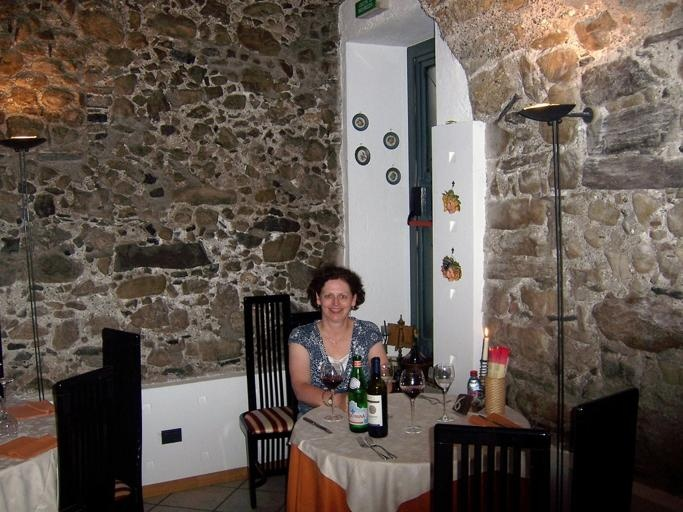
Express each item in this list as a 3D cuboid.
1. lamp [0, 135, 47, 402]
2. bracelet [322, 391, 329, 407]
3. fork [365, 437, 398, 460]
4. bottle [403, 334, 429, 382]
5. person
[{"bbox_3d":[-2.057,0.077,3.344,0.233,1.333,0.388,-2,-1,-33],"label":"lamp"},{"bbox_3d":[-0.085,0.732,2.629,0.038,0.027,0.053,-3,15,0],"label":"bracelet"},{"bbox_3d":[0.154,0.802,2.135,0.066,0.038,0.200,-2,-1,-27],"label":"fork"},{"bbox_3d":[0.527,0.770,3.732,0.228,0.291,0.235,0,-1,0],"label":"bottle"},{"bbox_3d":[-0.032,0.511,2.947,0.565,0.838,0.466,-7,19,-21],"label":"person"}]
